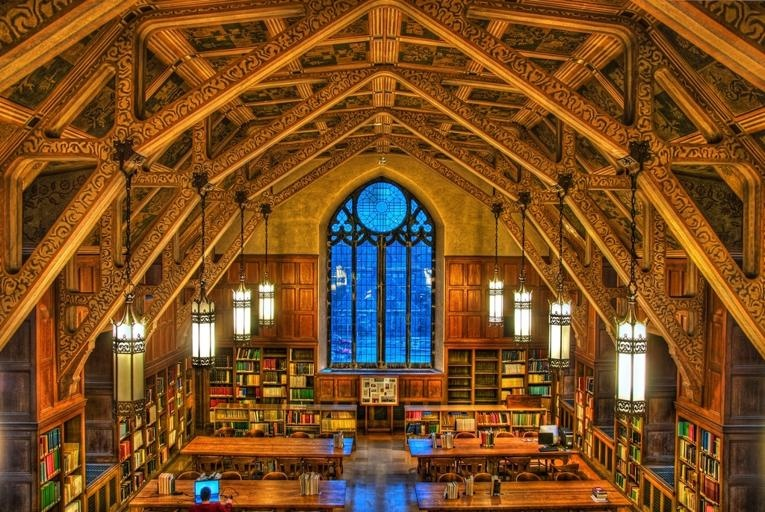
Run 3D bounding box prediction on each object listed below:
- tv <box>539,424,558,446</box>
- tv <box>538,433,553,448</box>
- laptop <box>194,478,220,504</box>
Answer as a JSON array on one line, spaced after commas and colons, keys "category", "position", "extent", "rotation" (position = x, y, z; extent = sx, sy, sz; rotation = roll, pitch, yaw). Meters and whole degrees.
[{"category": "tv", "position": [3.118, 3.396, 18.067], "extent": [0.296, 0.203, 0.309], "rotation": [-1, -2, -2]}, {"category": "tv", "position": [3.067, 3.459, 17.944], "extent": [0.248, 0.251, 0.060], "rotation": [5, -4, -7]}, {"category": "laptop", "position": [-2.731, 3.638, 14.869], "extent": [0.463, 0.330, 0.445], "rotation": [1, 1, -1]}]
